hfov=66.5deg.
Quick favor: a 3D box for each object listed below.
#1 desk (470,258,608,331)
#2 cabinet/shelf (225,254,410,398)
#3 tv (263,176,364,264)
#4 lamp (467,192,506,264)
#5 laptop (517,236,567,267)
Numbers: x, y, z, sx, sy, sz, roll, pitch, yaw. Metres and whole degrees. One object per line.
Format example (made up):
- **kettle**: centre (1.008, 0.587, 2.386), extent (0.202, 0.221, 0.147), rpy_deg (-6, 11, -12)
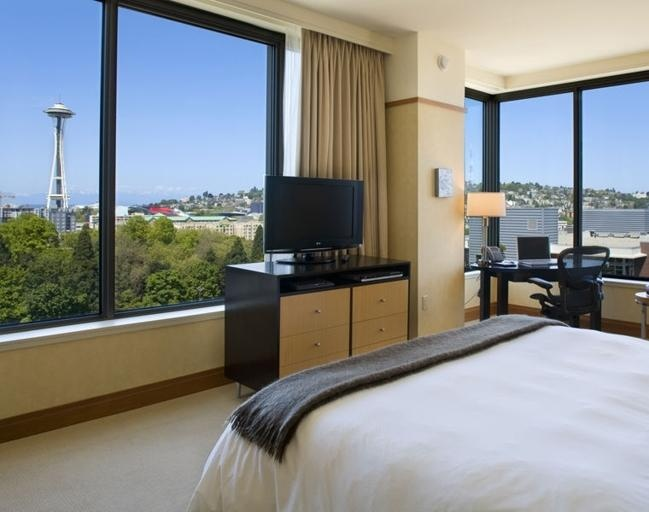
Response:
- **desk**: centre (2.040, 0.214, 4.804), extent (0.802, 0.636, 0.812), rpy_deg (-1, 2, -19)
- **cabinet/shelf**: centre (-0.079, 0.116, 3.808), extent (0.830, 1.200, 1.544), rpy_deg (2, 4, 44)
- **tv**: centre (-0.106, -0.298, 3.890), extent (0.648, 0.478, 0.068), rpy_deg (-4, 9, -39)
- **lamp**: centre (1.713, -0.378, 5.368), extent (0.383, 0.682, 0.938), rpy_deg (3, 12, 16)
- **laptop**: centre (2.192, -0.055, 5.092), extent (0.452, 0.340, 0.269), rpy_deg (-1, 0, -29)
